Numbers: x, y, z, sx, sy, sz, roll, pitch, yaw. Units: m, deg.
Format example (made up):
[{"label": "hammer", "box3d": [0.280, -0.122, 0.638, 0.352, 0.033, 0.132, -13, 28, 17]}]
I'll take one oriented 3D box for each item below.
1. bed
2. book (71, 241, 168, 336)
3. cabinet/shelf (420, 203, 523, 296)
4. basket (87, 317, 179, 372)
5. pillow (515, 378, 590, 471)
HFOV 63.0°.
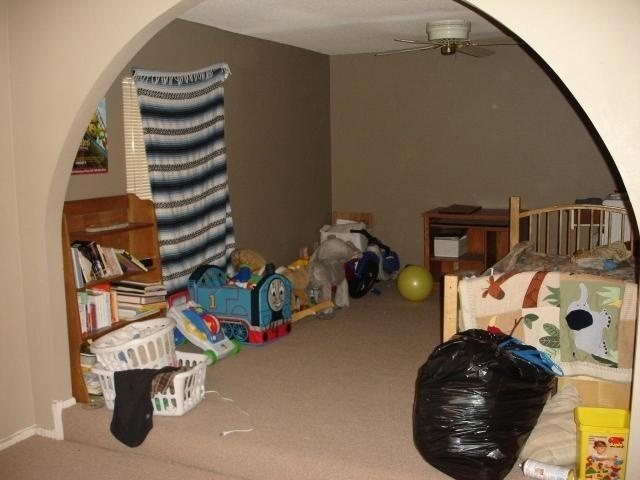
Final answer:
[{"label": "bed", "box3d": [1.919, 0.352, 4.303, 1.364, 1.046, 2.471, 3, 10, 26]}, {"label": "book", "box3d": [-1.513, 0.310, 3.778, 0.593, 0.210, 0.605, 12, 12, 41]}, {"label": "cabinet/shelf", "box3d": [1.848, 0.139, 6.255, 1.080, 0.982, 0.639, 4, 10, 28]}, {"label": "basket", "box3d": [-1.272, 0.714, 3.605, 0.398, 0.264, 0.344, -9, 6, 7]}, {"label": "pillow", "box3d": [1.283, 1.004, 2.869, 0.330, 0.366, 0.112, 3, -28, 49]}]
